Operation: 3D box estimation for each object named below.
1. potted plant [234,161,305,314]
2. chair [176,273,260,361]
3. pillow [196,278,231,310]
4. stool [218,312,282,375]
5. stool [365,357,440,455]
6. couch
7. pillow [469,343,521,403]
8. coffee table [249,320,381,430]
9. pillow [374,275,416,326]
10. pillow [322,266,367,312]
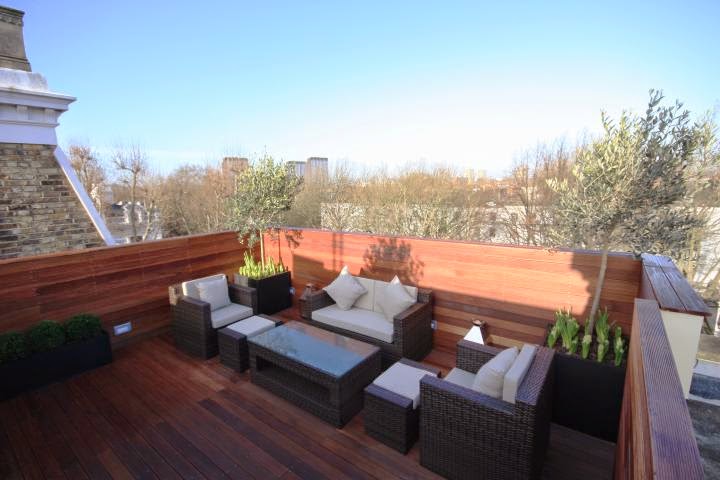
[{"bbox_3d":[-2.201,-0.157,8.129,1.301,3.354,1.397,8,12,36],"label":"potted plant"},{"bbox_3d":[-2.711,1.271,6.810,1.432,1.334,1.098,-5,16,-42],"label":"chair"},{"bbox_3d":[-2.782,0.995,6.833,0.536,0.485,0.193,-10,-3,-41],"label":"pillow"},{"bbox_3d":[-1.951,1.708,6.501,0.857,0.893,0.817,7,7,28],"label":"stool"},{"bbox_3d":[0.480,2.153,5.303,1.019,1.009,1.470,11,19,34],"label":"stool"},{"bbox_3d":[0.116,1.399,6.780,2.204,1.168,1.145,6,17,35],"label":"couch"},{"bbox_3d":[1.662,1.627,4.566,0.494,0.530,0.487,3,16,10],"label":"pillow"},{"bbox_3d":[-0.744,2.082,5.950,2.007,0.812,1.141,6,11,41],"label":"coffee table"},{"bbox_3d":[0.585,1.023,6.365,0.229,0.701,0.719,30,20,-44],"label":"pillow"},{"bbox_3d":[-0.295,0.935,6.830,0.730,0.700,0.225,46,1,28],"label":"pillow"}]
